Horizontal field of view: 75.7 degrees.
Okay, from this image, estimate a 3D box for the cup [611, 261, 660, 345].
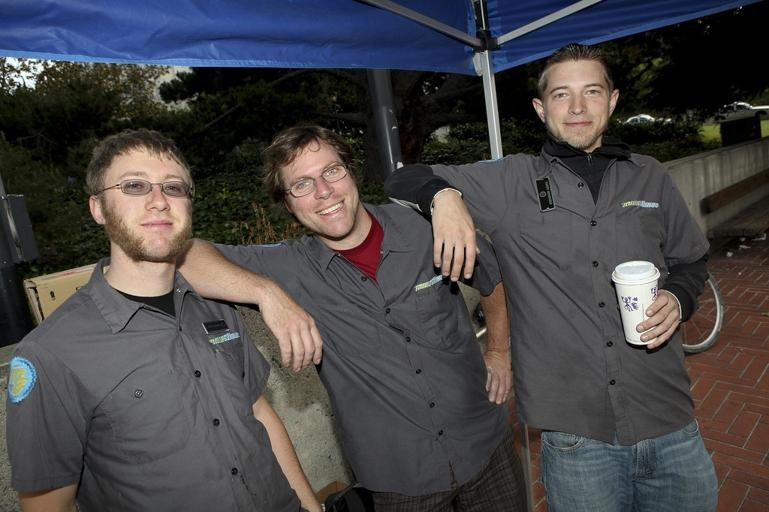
[{"bbox_3d":[1.386,0.277,2.685,0.201,0.499,0.192,-9,7,1],"label":"cup"}]
